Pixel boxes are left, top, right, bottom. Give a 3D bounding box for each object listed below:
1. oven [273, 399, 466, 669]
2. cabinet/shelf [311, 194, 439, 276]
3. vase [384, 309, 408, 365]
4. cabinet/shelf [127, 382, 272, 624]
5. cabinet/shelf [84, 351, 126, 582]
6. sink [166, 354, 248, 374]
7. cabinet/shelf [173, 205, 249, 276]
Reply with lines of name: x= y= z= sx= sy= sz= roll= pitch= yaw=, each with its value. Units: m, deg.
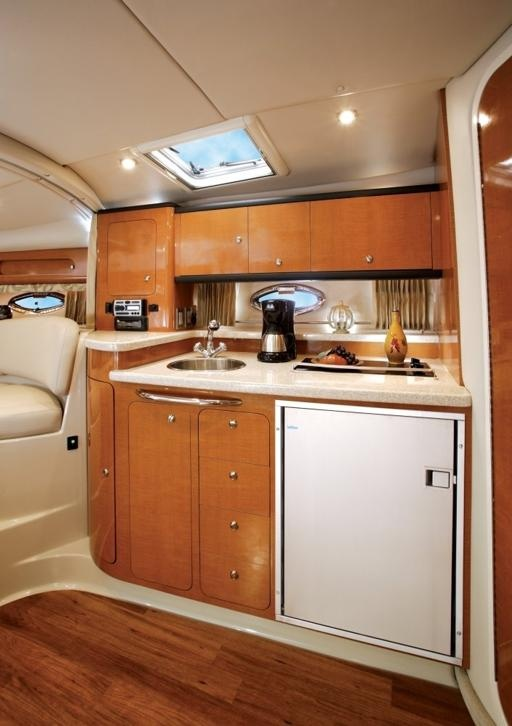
oven: x=0.401 y=0.498 z=2.015 sx=0.640 sy=0.839 sz=0.501 roll=0 pitch=7 yaw=5
cabinet/shelf: x=0.499 y=-0.574 z=2.340 sx=0.563 sy=0.309 sz=0.376 roll=2 pitch=18 yaw=20
vase: x=0.634 y=-0.119 z=2.399 sx=0.087 sy=0.237 sz=0.329 roll=3 pitch=12 yaw=16
cabinet/shelf: x=-0.158 y=0.494 z=2.390 sx=0.778 sy=0.966 sz=0.683 roll=1 pitch=1 yaw=24
cabinet/shelf: x=-0.680 y=0.405 z=2.334 sx=0.127 sy=0.936 sz=0.394 roll=-7 pitch=13 yaw=-31
sink: x=-0.229 y=0.019 z=2.496 sx=0.347 sy=0.080 sz=0.292 roll=-1 pitch=12 yaw=-6
cabinet/shelf: x=-0.185 y=-0.600 z=2.777 sx=0.489 sy=0.359 sz=0.287 roll=-1 pitch=0 yaw=19
